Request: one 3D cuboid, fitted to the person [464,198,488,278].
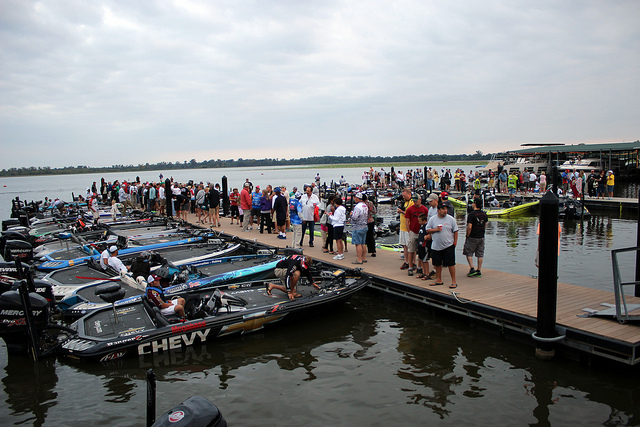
[{"bbox_3d":[4.590,0.753,13.250,0.651,2.439,0.909,-3,6,21],"label":"person"}]

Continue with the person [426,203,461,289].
[{"bbox_3d":[3.473,0.923,12.641,0.814,2.425,0.655,-4,5,13],"label":"person"}]

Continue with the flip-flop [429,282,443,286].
[{"bbox_3d":[3.361,2.037,12.915,0.303,0.067,0.106,1,4,6],"label":"flip-flop"}]

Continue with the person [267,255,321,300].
[{"bbox_3d":[-0.781,1.760,12.672,1.684,1.235,0.934,3,9,7],"label":"person"}]

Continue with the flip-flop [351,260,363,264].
[{"bbox_3d":[1.245,1.673,15.221,0.325,0.098,0.106,3,13,4],"label":"flip-flop"}]

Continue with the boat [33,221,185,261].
[{"bbox_3d":[-8.808,1.394,19.284,1.809,0.929,5.982,13,16,35],"label":"boat"}]

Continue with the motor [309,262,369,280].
[{"bbox_3d":[0.539,1.812,13.914,1.571,0.439,0.280,9,45,6],"label":"motor"}]

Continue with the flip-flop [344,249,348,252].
[{"bbox_3d":[0.952,1.393,16.678,0.127,0.101,0.205,-4,5,-2],"label":"flip-flop"}]

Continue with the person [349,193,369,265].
[{"bbox_3d":[1.312,0.532,15.095,0.678,2.385,0.987,-5,5,4],"label":"person"}]

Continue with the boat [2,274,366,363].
[{"bbox_3d":[-3.571,2.812,11.638,5.792,1.093,1.396,-9,21,-20],"label":"boat"}]

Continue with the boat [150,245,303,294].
[{"bbox_3d":[-2.651,2.092,14.704,5.129,1.149,1.617,-10,25,-27],"label":"boat"}]

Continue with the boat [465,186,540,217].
[{"bbox_3d":[11.752,-0.721,28.594,4.503,1.554,2.337,1,9,3],"label":"boat"}]

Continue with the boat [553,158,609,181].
[{"bbox_3d":[25.136,-4.375,42.547,3.916,1.663,8.611,-1,6,31],"label":"boat"}]

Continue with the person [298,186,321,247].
[{"bbox_3d":[-0.459,0.177,17.184,0.816,2.367,1.287,-5,5,-6],"label":"person"}]

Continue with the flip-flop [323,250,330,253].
[{"bbox_3d":[0.219,1.437,16.666,0.232,0.028,0.258,-3,5,1],"label":"flip-flop"}]

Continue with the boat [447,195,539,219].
[{"bbox_3d":[10.196,-0.321,25.654,4.032,0.979,1.163,5,15,-8],"label":"boat"}]

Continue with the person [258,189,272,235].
[{"bbox_3d":[-2.562,-0.065,20.399,0.636,2.000,1.063,-6,5,-8],"label":"person"}]

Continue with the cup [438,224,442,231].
[{"bbox_3d":[3.316,0.401,12.338,0.135,0.121,0.095,-18,16,-25],"label":"cup"}]

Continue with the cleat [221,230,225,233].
[{"bbox_3d":[-4.586,0.850,21.065,0.126,0.051,1.073,-5,5,-17],"label":"cleat"}]

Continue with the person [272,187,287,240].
[{"bbox_3d":[-1.722,0.019,19.157,0.592,2.128,0.886,-5,5,-5],"label":"person"}]

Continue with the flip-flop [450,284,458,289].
[{"bbox_3d":[3.796,2.054,12.645,0.373,0.107,0.094,-7,6,-39],"label":"flip-flop"}]

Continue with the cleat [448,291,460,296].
[{"bbox_3d":[3.660,2.197,12.268,0.273,0.057,0.222,0,6,32],"label":"cleat"}]

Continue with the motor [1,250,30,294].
[{"bbox_3d":[-8.588,1.647,12.536,0.564,1.137,0.676,-36,-39,28],"label":"motor"}]
